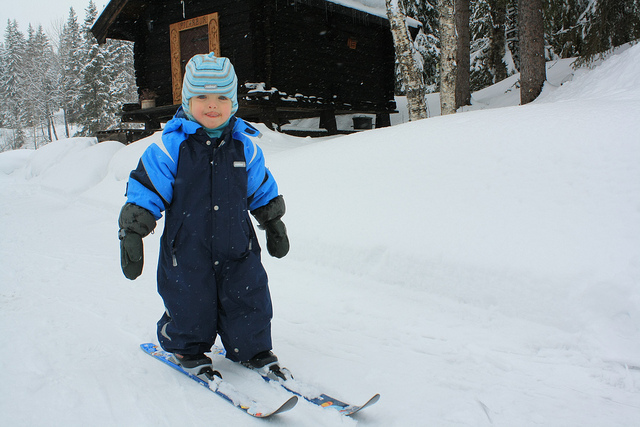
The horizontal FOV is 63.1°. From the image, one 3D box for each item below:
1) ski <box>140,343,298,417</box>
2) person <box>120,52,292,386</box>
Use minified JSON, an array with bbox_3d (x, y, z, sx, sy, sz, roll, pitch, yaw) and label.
[{"bbox_3d":[-0.819,1.353,4.184,1.408,0.167,0.186,16,17,40],"label":"ski"},{"bbox_3d":[-0.915,0.030,4.268,1.268,2.608,0.561,-2,7,-2],"label":"person"}]
